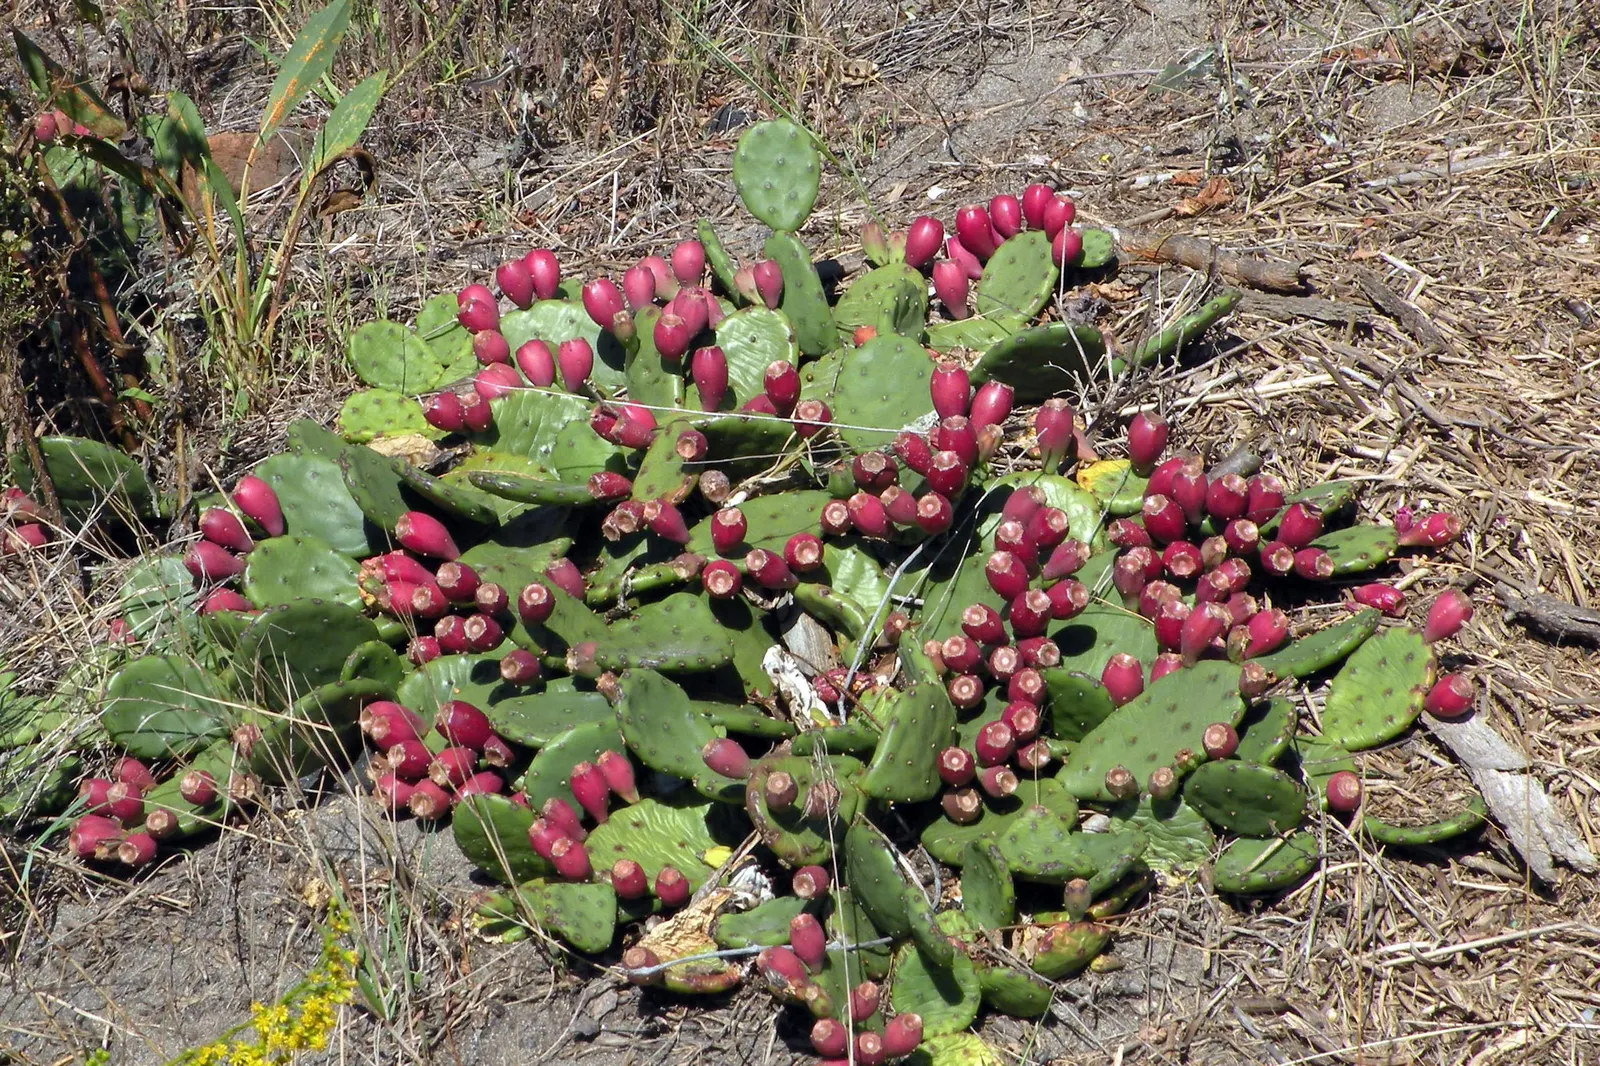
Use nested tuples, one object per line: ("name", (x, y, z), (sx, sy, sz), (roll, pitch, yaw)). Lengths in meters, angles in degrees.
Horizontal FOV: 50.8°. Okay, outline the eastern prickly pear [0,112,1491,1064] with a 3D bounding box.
("eastern prickly pear", (-0.021, 0.179, 4.757), (3.534, 0.855, 2.481), (11, 50, 17))
